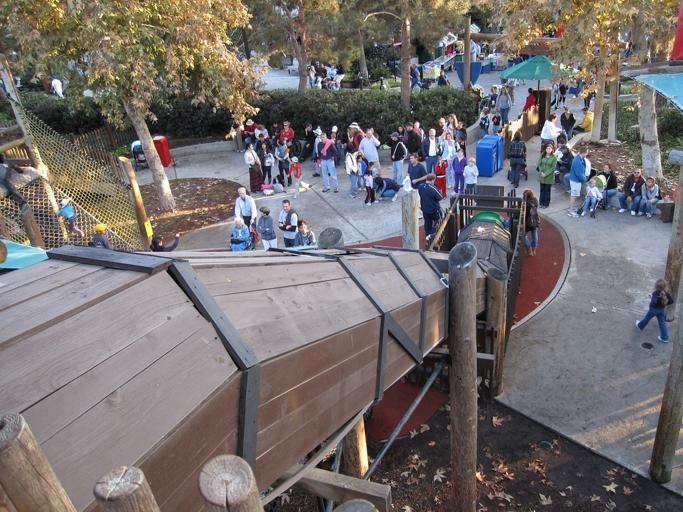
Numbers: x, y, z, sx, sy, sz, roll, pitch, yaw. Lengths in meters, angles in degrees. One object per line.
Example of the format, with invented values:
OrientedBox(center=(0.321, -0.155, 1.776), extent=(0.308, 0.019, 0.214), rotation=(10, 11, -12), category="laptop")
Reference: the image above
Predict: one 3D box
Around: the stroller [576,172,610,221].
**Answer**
OrientedBox(center=(7.525, -1.762, 15.190), extent=(1.071, 1.549, 0.626), rotation=(-24, 30, -21), category="stroller")

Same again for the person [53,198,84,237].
OrientedBox(center=(-7.358, -1.008, 13.635), extent=(0.587, 1.105, 0.365), rotation=(36, 59, 5), category="person")

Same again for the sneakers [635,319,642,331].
OrientedBox(center=(6.093, 1.382, 10.428), extent=(0.087, 0.117, 0.281), rotation=(3, 41, 25), category="sneakers")

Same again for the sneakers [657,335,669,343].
OrientedBox(center=(6.319, 1.611, 10.036), extent=(0.081, 0.108, 0.226), rotation=(-18, 27, -16), category="sneakers")

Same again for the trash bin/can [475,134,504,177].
OrientedBox(center=(5.339, -3.579, 18.316), extent=(0.496, 1.346, 1.662), rotation=(5, 35, 23), category="trash bin/can")

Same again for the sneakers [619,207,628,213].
OrientedBox(center=(8.400, -1.371, 15.166), extent=(0.237, 0.092, 0.103), rotation=(-3, -23, 34), category="sneakers")

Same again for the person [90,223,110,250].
OrientedBox(center=(-5.751, -0.518, 12.081), extent=(0.309, 0.529, 0.878), rotation=(-14, 19, -28), category="person")

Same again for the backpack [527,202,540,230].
OrientedBox(center=(4.832, -1.014, 12.889), extent=(0.320, 0.700, 0.488), rotation=(-3, 49, 13), category="backpack")

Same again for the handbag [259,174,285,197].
OrientedBox(center=(-2.552, -2.605, 19.009), extent=(0.666, 0.393, 0.900), rotation=(-4, 23, -17), category="handbag")

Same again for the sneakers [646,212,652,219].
OrientedBox(center=(8.868, -1.181, 14.600), extent=(0.251, 0.137, 0.091), rotation=(-11, 18, -18), category="sneakers")

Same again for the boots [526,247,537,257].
OrientedBox(center=(5.045, -0.150, 13.502), extent=(0.135, 0.358, 0.309), rotation=(-4, 9, -14), category="boots")

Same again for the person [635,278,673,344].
OrientedBox(center=(6.057, 0.993, 9.901), extent=(0.405, 1.204, 0.736), rotation=(-13, 20, -17), category="person")

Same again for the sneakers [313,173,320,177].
OrientedBox(center=(-1.004, -3.277, 20.473), extent=(0.287, 0.231, 0.106), rotation=(7, 28, 7), category="sneakers")

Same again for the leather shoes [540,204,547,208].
OrientedBox(center=(6.360, -1.566, 16.016), extent=(0.174, 0.075, 0.079), rotation=(0, -2, -2), category="leather shoes")

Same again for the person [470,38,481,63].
OrientedBox(center=(10.369, -15.884, 39.396), extent=(0.531, 1.372, 2.178), rotation=(3, 19, 23), category="person")

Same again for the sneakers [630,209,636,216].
OrientedBox(center=(8.504, -1.275, 14.839), extent=(0.072, 0.111, 0.152), rotation=(-8, 16, 25), category="sneakers")
